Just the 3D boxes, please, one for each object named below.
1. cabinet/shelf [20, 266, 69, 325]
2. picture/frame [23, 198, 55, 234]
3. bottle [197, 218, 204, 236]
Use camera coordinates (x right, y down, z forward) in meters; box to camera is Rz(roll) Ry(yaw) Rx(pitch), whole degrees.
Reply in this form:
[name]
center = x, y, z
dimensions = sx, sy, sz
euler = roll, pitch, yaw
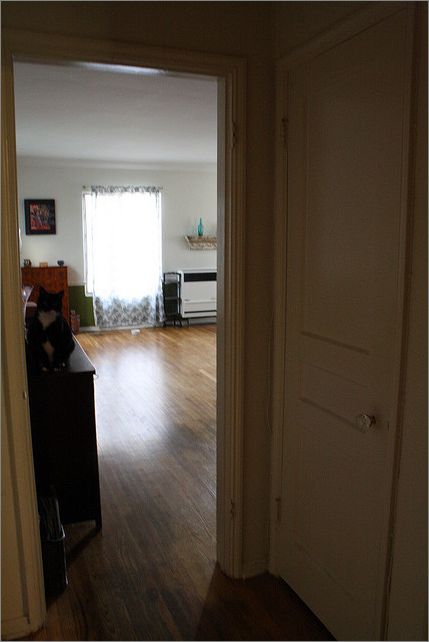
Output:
[cabinet/shelf]
center = -2.608, -0.391, 7.117
dimensions = 0.725, 0.927, 0.447
euler = -4, 5, -35
[picture/frame]
center = -2.773, -1.665, 7.171
dimensions = 0.314, 0.686, 0.033
euler = -2, 10, -24
[bottle]
center = -0.253, -1.664, 8.134
dimensions = 0.074, 0.323, 0.150
euler = 0, 4, 8
